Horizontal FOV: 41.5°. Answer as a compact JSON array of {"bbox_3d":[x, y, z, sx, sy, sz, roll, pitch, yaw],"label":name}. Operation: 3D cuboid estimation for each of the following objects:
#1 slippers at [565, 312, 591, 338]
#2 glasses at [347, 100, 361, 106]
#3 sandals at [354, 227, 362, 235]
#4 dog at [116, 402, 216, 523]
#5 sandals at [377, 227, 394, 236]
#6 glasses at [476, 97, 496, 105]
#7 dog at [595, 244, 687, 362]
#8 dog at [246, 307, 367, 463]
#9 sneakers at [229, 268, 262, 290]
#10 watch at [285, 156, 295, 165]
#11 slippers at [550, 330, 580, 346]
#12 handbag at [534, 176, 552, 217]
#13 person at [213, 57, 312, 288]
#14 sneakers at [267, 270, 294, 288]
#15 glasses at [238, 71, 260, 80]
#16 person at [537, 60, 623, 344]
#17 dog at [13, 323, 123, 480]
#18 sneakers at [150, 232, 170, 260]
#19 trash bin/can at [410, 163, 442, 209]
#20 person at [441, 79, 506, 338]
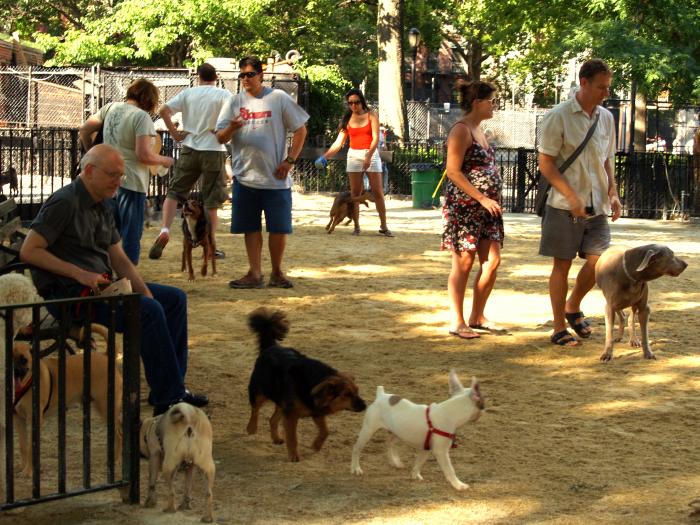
[{"bbox_3d":[2.366,0.614,9.726,0.156,0.121,0.428,-10,33,-9],"label":"slippers"},{"bbox_3d":[0.045,-2.633,15.305,0.210,0.100,0.165,1,4,14],"label":"glasses"},{"bbox_3d":[0.156,-0.578,17.095,0.130,0.193,0.126,3,15,9],"label":"sandals"},{"bbox_3d":[-1.119,1.283,6.085,0.657,0.722,0.308,3,4,34],"label":"dog"},{"bbox_3d":[0.660,-0.543,16.973,0.110,0.110,0.305,13,8,32],"label":"sandals"},{"bbox_3d":[1.368,-1.612,9.247,0.217,0.072,0.103,-2,4,-36],"label":"glasses"},{"bbox_3d":[2.777,0.365,9.258,0.628,1.201,1.806,2,3,4],"label":"dog"},{"bbox_3d":[-0.416,0.962,6.973,0.457,0.981,1.408,-5,11,-39],"label":"dog"},{"bbox_3d":[-1.321,0.237,11.644,0.417,0.187,0.190,3,3,-2],"label":"sneakers"},{"bbox_3d":[-0.709,-1.249,11.121,0.097,0.097,0.101,28,-3,-30],"label":"watch"},{"bbox_3d":[2.147,0.783,9.414,0.131,0.102,0.247,-3,-3,-12],"label":"slippers"},{"bbox_3d":[1.907,-0.680,9.311,0.240,0.332,0.119,-3,-5,41],"label":"handbag"},{"bbox_3d":[-1.082,-1.083,11.343,1.039,2.846,0.928,1,3,11],"label":"person"},{"bbox_3d":[-0.906,0.233,11.783,0.332,0.181,0.169,2,6,17],"label":"sneakers"},{"bbox_3d":[-1.250,-2.256,11.096,0.234,0.087,0.121,2,4,18],"label":"glasses"},{"bbox_3d":[2.283,-0.591,9.256,0.777,2.882,0.871,1,3,15],"label":"person"},{"bbox_3d":[-2.061,0.985,6.739,0.735,1.049,1.729,-1,4,-19],"label":"dog"},{"bbox_3d":[-2.696,-0.215,13.072,0.138,0.402,0.171,28,16,-19],"label":"sneakers"},{"bbox_3d":[1.899,-1.958,23.630,0.768,1.125,0.785,5,18,20],"label":"trash bin/can"},{"bbox_3d":[1.269,-0.523,9.492,0.668,2.651,0.766,1,3,8],"label":"person"}]
